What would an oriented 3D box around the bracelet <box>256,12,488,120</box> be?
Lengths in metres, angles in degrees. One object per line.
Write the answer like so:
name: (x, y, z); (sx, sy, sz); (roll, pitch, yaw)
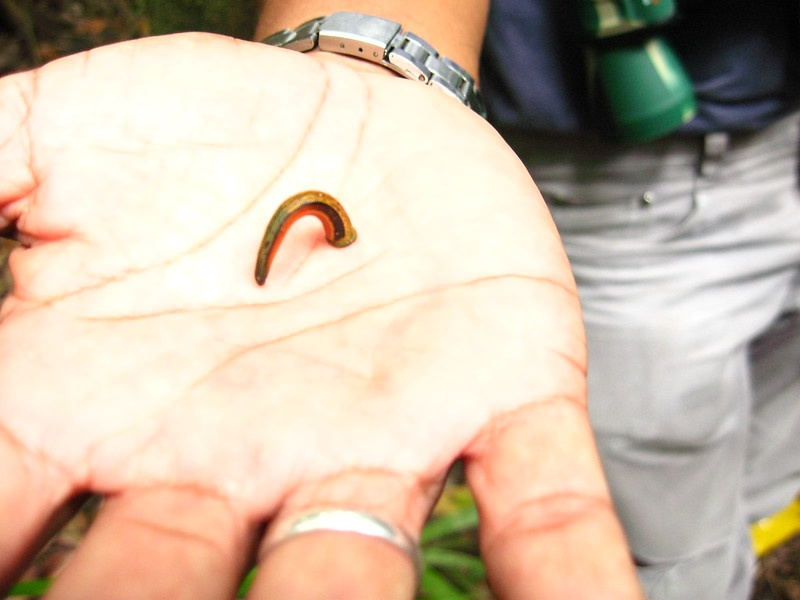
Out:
bracelet: (-0.069, -0.626, 1.914); (0.610, 0.172, 0.121); (17, 47, 13)
